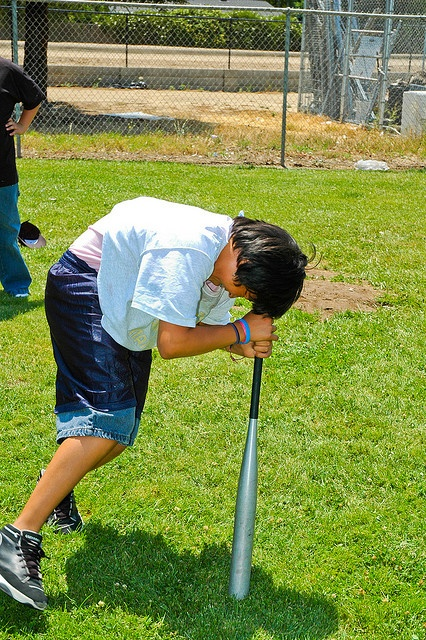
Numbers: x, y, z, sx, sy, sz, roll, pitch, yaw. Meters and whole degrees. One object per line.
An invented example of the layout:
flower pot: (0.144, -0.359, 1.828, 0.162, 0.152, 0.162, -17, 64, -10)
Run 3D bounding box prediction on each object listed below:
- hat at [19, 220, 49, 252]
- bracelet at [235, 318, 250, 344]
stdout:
hat: (-1.244, -0.578, 4.764, 0.054, 0.188, 0.154, -33, -7, 34)
bracelet: (0.095, 0.031, 1.989, 0.025, 0.057, 0.055, -6, 0, -12)
